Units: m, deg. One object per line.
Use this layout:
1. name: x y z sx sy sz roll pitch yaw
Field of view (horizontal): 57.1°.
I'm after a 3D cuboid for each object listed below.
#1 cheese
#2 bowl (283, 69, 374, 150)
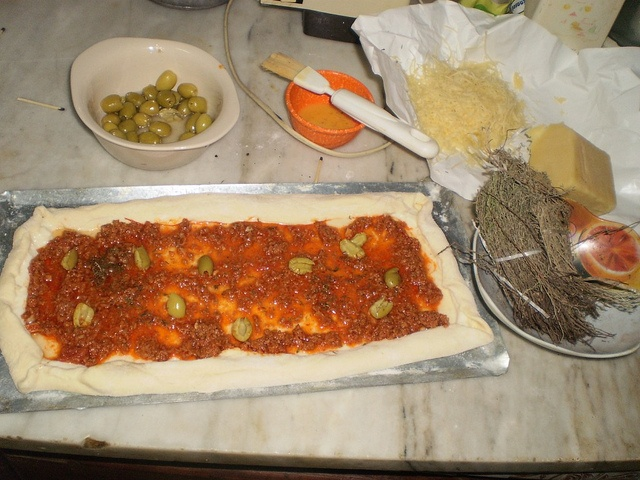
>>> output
1. cheese: 1.745 -0.480 4.310 0.489 0.787 0.261 -4 -34 -31
2. bowl: -0.072 -0.959 4.481 0.771 0.302 0.804 28 20 -11
